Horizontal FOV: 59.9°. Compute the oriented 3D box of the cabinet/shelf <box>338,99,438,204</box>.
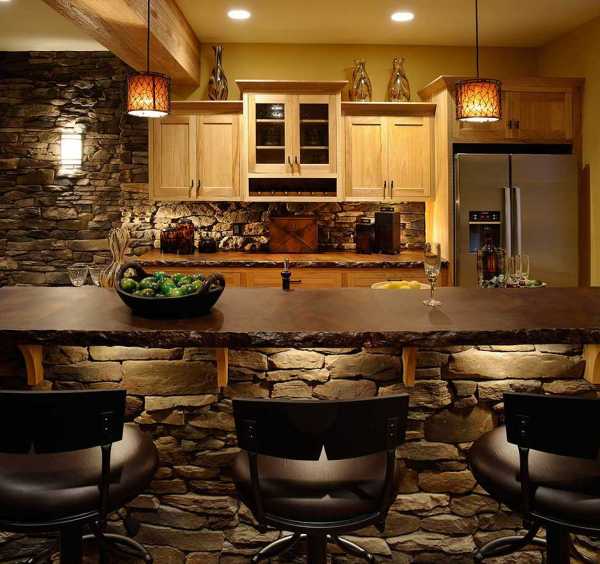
[{"bbox_3d":[0.774,-1.201,4.672,1.206,0.912,0.558,0,0,-1],"label":"cabinet/shelf"}]

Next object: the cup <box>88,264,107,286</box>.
[{"bbox_3d":[-1.246,-0.034,3.214,0.084,0.118,0.394,-1,4,-21],"label":"cup"}]

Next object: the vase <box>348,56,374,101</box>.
[{"bbox_3d":[0.550,-1.849,4.754,0.190,0.414,0.196,0,4,2],"label":"vase"}]

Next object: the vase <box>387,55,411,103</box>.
[{"bbox_3d":[0.907,-1.880,4.814,0.206,0.416,0.146,2,4,27],"label":"vase"}]

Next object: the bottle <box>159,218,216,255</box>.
[{"bbox_3d":[-1.032,-0.448,4.868,0.506,0.358,0.417,0,3,-8],"label":"bottle"}]

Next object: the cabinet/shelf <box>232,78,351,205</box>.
[{"bbox_3d":[-0.077,-1.258,4.598,1.436,1.198,0.404,0,2,-3],"label":"cabinet/shelf"}]

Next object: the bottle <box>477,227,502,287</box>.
[{"bbox_3d":[1.080,-0.142,2.953,0.137,0.322,0.213,1,4,19],"label":"bottle"}]

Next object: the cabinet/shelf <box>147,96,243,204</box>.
[{"bbox_3d":[-0.908,-1.163,4.543,1.191,0.897,0.439,0,1,0],"label":"cabinet/shelf"}]

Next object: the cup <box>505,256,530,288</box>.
[{"bbox_3d":[1.171,-0.063,2.817,0.114,0.165,0.266,2,4,21],"label":"cup"}]

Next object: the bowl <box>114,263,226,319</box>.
[{"bbox_3d":[-0.497,0.025,1.956,0.451,0.191,0.347,1,3,14],"label":"bowl"}]

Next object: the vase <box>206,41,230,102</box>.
[{"bbox_3d":[-0.755,-1.943,4.797,0.196,0.556,0.227,0,4,-8],"label":"vase"}]
